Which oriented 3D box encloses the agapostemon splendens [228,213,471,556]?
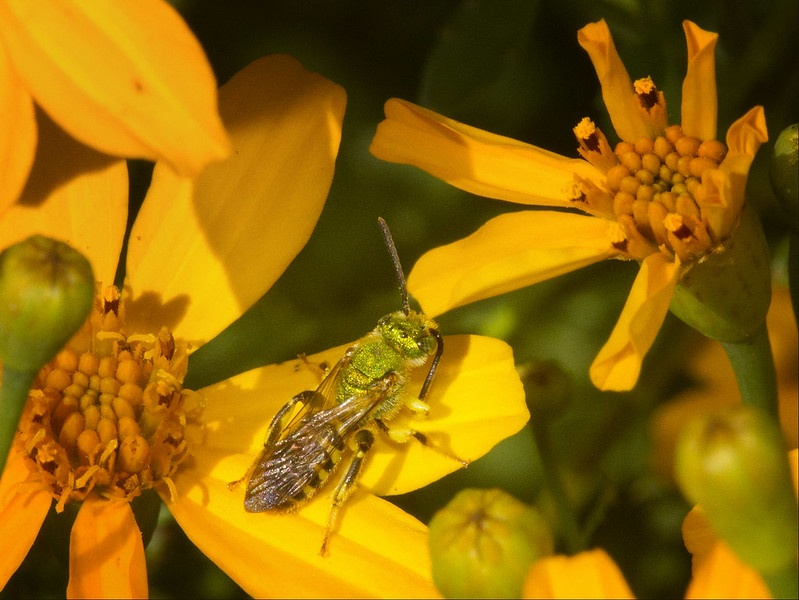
[{"bbox_3d":[-0.051,0.134,1.054,0.243,0.357,0.112,35,-17,33],"label":"agapostemon splendens"}]
